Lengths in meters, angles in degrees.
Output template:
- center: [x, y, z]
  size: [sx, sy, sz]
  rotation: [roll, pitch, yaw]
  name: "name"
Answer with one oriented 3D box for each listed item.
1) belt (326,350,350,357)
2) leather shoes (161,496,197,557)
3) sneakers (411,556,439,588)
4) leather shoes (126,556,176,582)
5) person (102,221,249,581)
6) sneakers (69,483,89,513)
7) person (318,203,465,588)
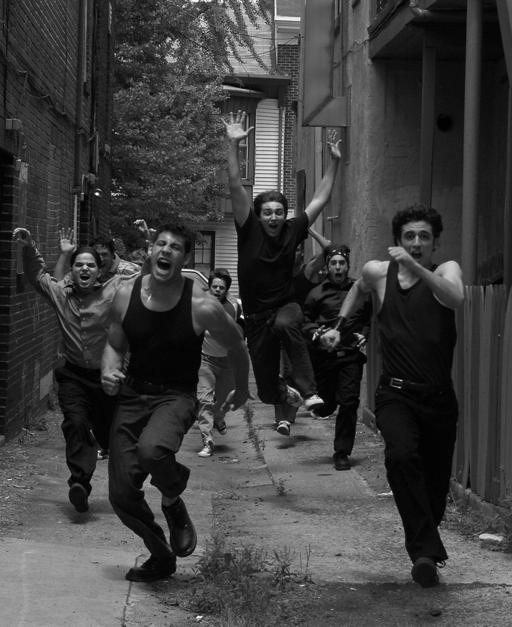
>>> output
- center: [0.816, 0.404, 7.775]
  size: [0.202, 0.057, 0.196]
  rotation: [0, 3, -1]
  name: "belt"
- center: [-0.383, 1.092, 3.976]
  size: [0.117, 0.360, 0.140]
  rotation: [-20, -40, 9]
  name: "leather shoes"
- center: [0.780, 1.188, 3.647]
  size: [0.074, 0.207, 0.083]
  rotation: [2, 46, 11]
  name: "sneakers"
- center: [-0.509, 1.220, 3.832]
  size: [0.243, 0.164, 0.105]
  rotation: [3, 2, -12]
  name: "leather shoes"
- center: [-0.438, 0.431, 3.997]
  size: [0.569, 1.784, 0.800]
  rotation: [0, -4, 36]
  name: "person"
- center: [-1.178, 1.228, 5.295]
  size: [0.105, 0.219, 0.097]
  rotation: [-10, 11, -6]
  name: "sneakers"
- center: [0.779, 0.390, 4.075]
  size: [0.529, 1.909, 0.899]
  rotation: [3, -4, 2]
  name: "person"
